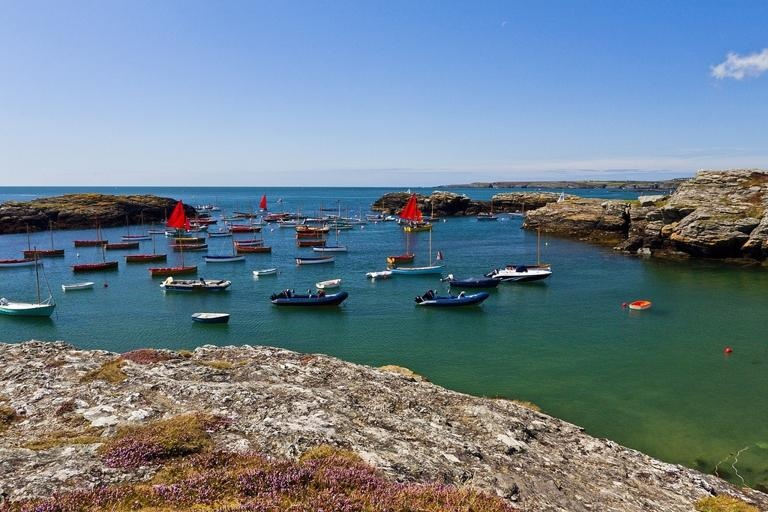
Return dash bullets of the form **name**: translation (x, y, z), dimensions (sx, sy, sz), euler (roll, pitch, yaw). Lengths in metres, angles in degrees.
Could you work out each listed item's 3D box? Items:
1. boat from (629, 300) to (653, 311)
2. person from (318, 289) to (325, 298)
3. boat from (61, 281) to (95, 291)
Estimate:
- **boat**: translation (36.129, 6.969, 80.905), dimensions (2.917, 0.988, 4.036), euler (1, 8, 27)
- **person**: translation (-9.085, 5.576, 83.748), dimensions (1.228, 1.431, 1.241), euler (-6, 16, -10)
- **boat**: translation (-50.614, 5.181, 94.738), dimensions (3.926, 0.685, 2.283), euler (-2, 8, -20)
